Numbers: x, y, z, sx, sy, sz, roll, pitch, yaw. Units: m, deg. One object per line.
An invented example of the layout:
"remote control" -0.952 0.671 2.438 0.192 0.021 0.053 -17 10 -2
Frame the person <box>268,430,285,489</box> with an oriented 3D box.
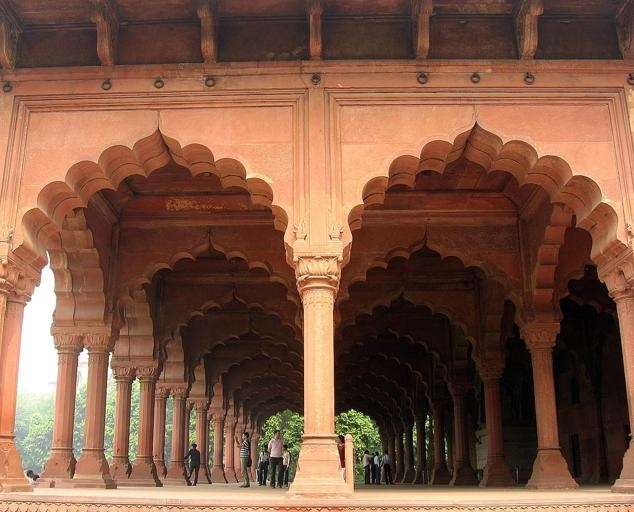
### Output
"person" -0.938 4.662 19.963 0.494 1.295 0.343 -4 -14 5
